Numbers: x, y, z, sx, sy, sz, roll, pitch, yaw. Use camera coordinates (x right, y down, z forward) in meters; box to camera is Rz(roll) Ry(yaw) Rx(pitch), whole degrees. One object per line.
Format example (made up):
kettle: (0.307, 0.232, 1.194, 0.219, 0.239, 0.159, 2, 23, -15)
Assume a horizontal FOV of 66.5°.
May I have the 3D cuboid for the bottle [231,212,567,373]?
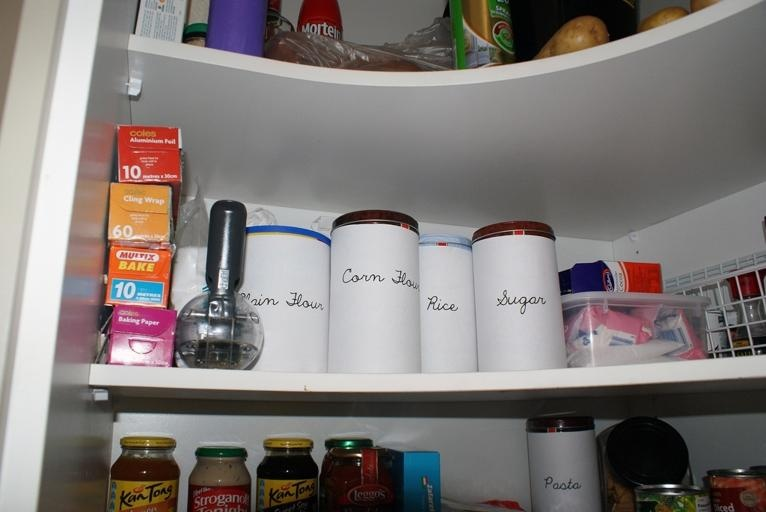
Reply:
bottle: (0.073, 0.063, 0.990, 0.454, 0.267, 0.079, 0, -14, -4)
